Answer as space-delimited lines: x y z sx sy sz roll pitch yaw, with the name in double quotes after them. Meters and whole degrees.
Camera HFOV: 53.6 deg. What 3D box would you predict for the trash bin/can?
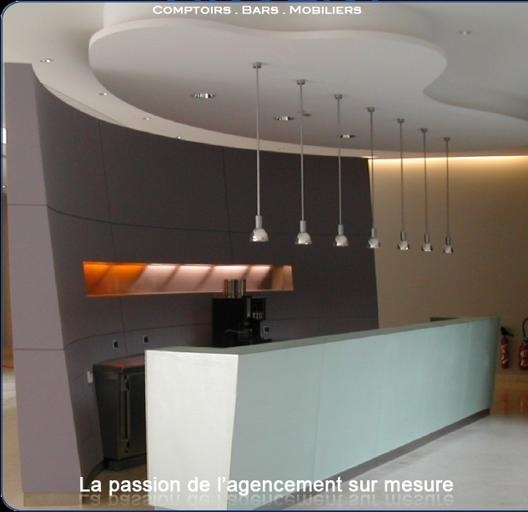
-1.428 1.600 5.194 0.510 1.036 0.258 0 -4 -21 "trash bin/can"
